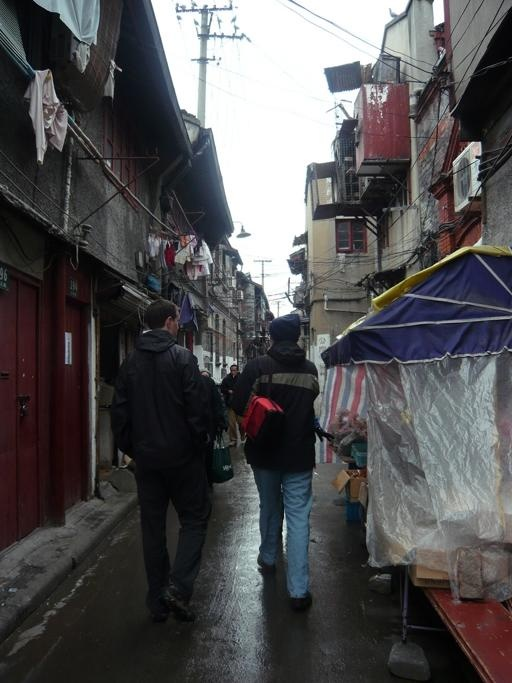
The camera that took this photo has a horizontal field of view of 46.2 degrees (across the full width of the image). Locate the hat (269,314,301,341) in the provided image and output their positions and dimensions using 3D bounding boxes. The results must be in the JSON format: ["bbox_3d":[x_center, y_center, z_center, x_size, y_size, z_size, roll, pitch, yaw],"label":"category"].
[{"bbox_3d":[0.209,-0.096,4.262,0.139,0.227,0.195,-6,13,-37],"label":"hat"}]

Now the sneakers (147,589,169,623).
[{"bbox_3d":[-0.580,1.544,3.531,0.126,0.295,0.125,-2,-12,0],"label":"sneakers"}]

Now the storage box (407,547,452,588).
[{"bbox_3d":[0.987,1.278,3.320,0.156,0.158,0.194,0,-8,-2],"label":"storage box"}]

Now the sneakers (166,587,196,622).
[{"bbox_3d":[-0.434,1.538,3.518,0.097,0.321,0.125,-32,45,-20],"label":"sneakers"}]

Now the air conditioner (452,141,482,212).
[{"bbox_3d":[3.047,-2.408,8.700,0.288,1.047,1.364,0,-3,16],"label":"air conditioner"}]

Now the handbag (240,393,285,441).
[{"bbox_3d":[0.035,0.506,3.930,0.173,0.420,0.361,15,-13,-7],"label":"handbag"}]
